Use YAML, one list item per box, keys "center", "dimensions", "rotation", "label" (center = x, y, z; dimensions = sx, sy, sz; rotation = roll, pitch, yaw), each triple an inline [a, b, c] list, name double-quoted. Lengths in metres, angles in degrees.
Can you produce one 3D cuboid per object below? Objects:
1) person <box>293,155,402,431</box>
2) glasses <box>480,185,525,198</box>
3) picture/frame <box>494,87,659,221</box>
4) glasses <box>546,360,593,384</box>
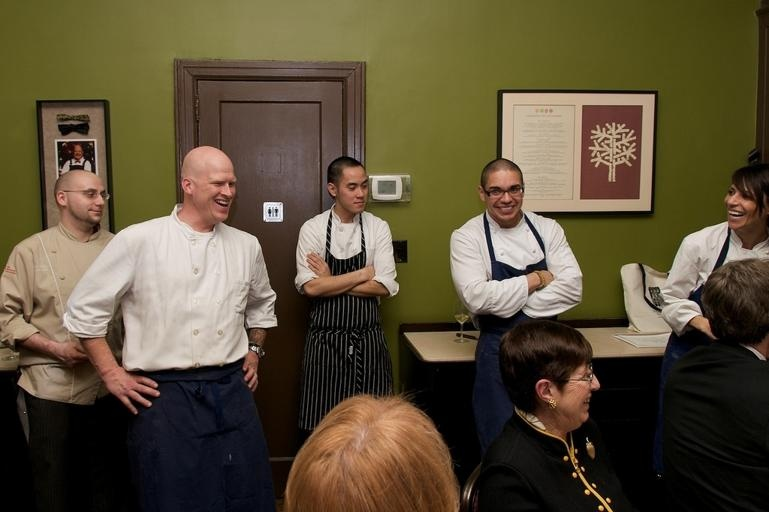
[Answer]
- center: [-0.227, 0.378, 3.953]
  dimensions: [0.614, 1.981, 0.469]
  rotation: [1, 17, 5]
  label: "person"
- center: [0.688, -0.377, 3.558]
  dimensions: [0.241, 0.082, 0.140]
  rotation: [1, 8, 9]
  label: "glasses"
- center: [1.288, -0.738, 4.215]
  dimensions: [0.932, 0.730, 0.042]
  rotation: [1, 2, -8]
  label: "picture/frame"
- center: [0.798, 0.496, 2.579]
  dimensions: [0.214, 0.089, 0.031]
  rotation: [-2, 8, -14]
  label: "glasses"
